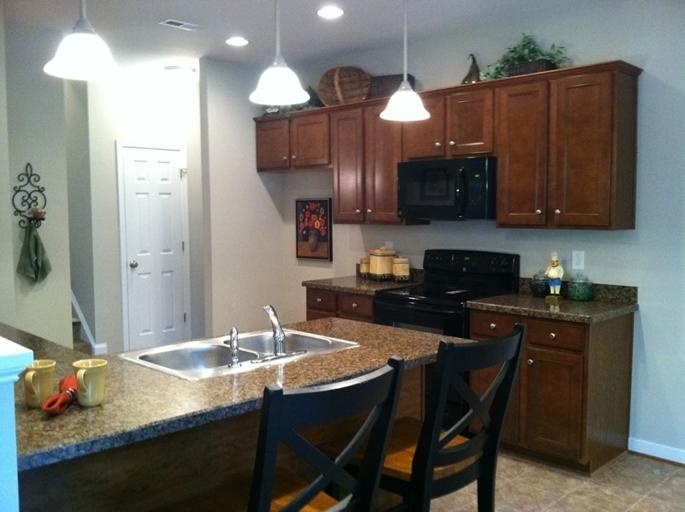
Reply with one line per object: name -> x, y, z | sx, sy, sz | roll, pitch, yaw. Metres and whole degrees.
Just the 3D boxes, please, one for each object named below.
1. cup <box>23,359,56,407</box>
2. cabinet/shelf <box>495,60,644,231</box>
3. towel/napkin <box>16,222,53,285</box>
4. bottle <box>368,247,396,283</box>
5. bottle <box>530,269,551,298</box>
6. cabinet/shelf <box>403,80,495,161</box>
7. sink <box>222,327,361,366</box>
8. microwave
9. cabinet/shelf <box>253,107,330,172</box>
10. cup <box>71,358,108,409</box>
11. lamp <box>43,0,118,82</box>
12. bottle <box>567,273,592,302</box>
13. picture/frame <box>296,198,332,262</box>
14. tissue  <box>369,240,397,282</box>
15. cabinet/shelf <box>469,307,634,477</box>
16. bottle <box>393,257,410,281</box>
cup -> -0.989, 0.419, 1.728 | 0.092, 0.136, 0.139 | 3, 1, -16
cabinet/shelf -> 1.456, -0.706, 3.561 | 0.945, 1.060, 0.386 | 7, 13, 28
towel/napkin -> -2.412, -0.018, 4.177 | 0.228, 0.489, 0.134 | -7, 14, -32
bottle -> 0.346, 0.063, 4.652 | 0.229, 0.250, 0.234 | 3, 4, 3
bottle -> 1.376, 0.203, 3.744 | 0.142, 0.182, 0.146 | 0, -1, 0
cabinet/shelf -> 0.781, -0.953, 3.814 | 0.650, 0.578, 0.259 | 5, 7, 42
sink -> -0.234, 0.428, 2.563 | 0.270, 0.120, 0.322 | -5, 5, -37
microwave -> 0.821, -0.508, 4.136 | 0.740, 0.446, 0.364 | 5, 7, 39
cabinet/shelf -> -0.542, -1.104, 5.076 | 0.868, 0.510, 0.295 | -16, 26, -35
cup -> -0.824, 0.419, 1.734 | 0.097, 0.137, 0.147 | 1, 1, -10
lamp -> -0.974, -0.803, 1.964 | 0.201, 0.296, 0.207 | -11, 16, -43
bottle -> 1.619, 0.210, 3.663 | 0.166, 0.192, 0.169 | 3, 4, 41
picture/frame -> -0.264, -0.273, 5.290 | 0.571, 0.754, 0.087 | 5, 8, 44
tissue  -> 0.346, 0.054, 4.653 | 0.213, 0.268, 0.200 | -3, 6, -37
cabinet/shelf -> 1.398, 0.850, 3.719 | 0.639, 0.933, 0.952 | 0, 0, -40
bottle -> 0.493, 0.109, 4.498 | 0.168, 0.252, 0.165 | 0, 5, 0
